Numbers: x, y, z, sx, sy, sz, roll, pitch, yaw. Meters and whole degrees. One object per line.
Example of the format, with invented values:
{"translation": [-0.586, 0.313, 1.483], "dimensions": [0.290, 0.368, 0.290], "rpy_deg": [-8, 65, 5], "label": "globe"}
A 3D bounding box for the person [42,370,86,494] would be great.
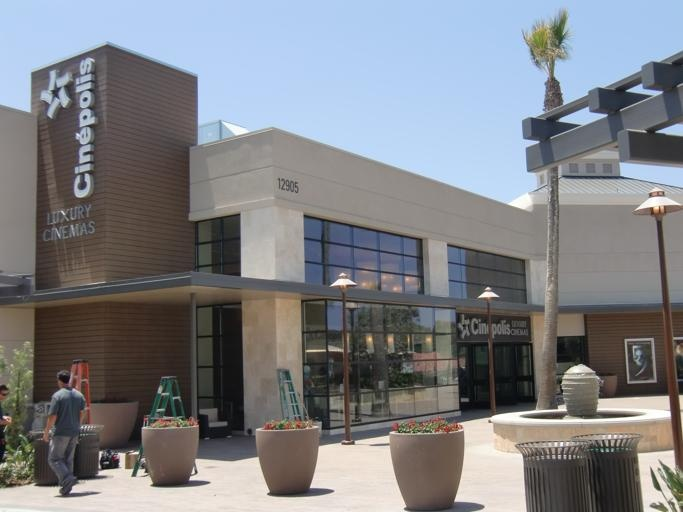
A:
{"translation": [-5.537, 3.510, 13.520], "dimensions": [0.720, 2.402, 0.902], "rpy_deg": [1, -13, -20], "label": "person"}

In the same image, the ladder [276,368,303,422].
{"translation": [-1.571, 4.354, 21.399], "dimensions": [0.767, 1.642, 0.961], "rpy_deg": [-8, -13, 19], "label": "ladder"}

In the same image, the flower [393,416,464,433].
{"translation": [1.495, 2.917, 11.615], "dimensions": [1.145, 0.249, 0.701], "rpy_deg": [-5, -14, 7], "label": "flower"}

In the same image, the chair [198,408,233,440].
{"translation": [-4.241, 5.489, 22.051], "dimensions": [0.911, 0.975, 0.897], "rpy_deg": [7, -13, -39], "label": "chair"}
